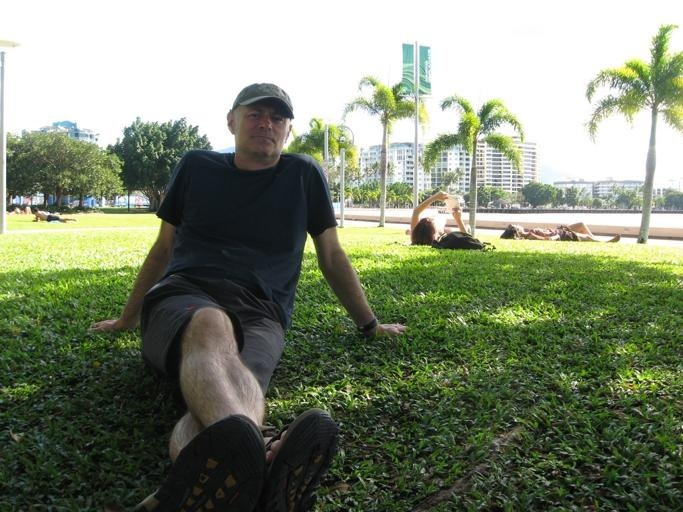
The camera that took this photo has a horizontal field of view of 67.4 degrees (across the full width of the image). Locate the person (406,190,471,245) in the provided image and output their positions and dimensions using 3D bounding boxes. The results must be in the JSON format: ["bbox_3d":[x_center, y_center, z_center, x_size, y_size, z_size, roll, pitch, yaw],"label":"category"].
[{"bbox_3d":[2.377,-1.057,13.387,1.029,0.902,1.764,6,10,25],"label":"person"}]
